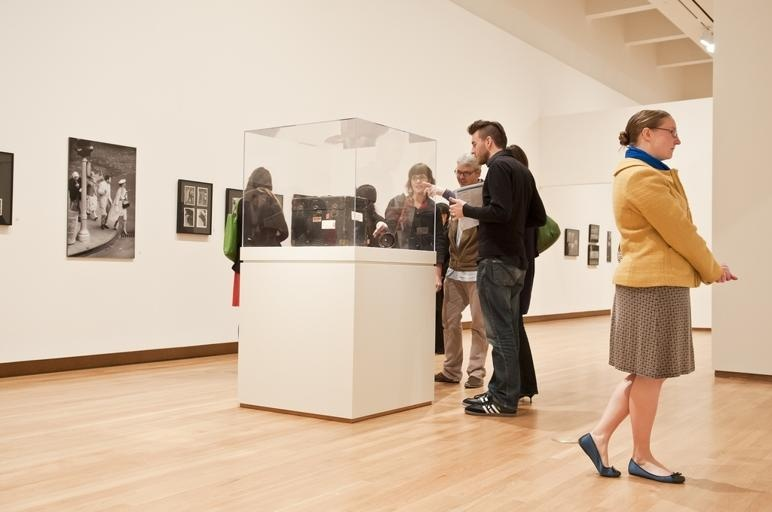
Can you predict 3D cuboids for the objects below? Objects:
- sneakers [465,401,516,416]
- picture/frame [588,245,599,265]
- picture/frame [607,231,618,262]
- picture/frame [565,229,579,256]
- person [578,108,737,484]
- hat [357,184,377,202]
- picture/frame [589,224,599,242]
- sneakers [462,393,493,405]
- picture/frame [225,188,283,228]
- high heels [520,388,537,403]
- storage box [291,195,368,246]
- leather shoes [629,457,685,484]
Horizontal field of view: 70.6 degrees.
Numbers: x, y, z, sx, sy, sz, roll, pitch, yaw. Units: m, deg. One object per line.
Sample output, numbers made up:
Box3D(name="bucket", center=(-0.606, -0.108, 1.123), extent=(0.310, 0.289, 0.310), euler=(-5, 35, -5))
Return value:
Box3D(name="sneakers", center=(0.945, 1.342, 4.937), extent=(0.442, 0.179, 0.164), euler=(3, -9, 9))
Box3D(name="picture/frame", center=(5.853, -0.054, 15.420), extent=(0.079, 0.532, 0.576), euler=(-1, 1, 37))
Box3D(name="picture/frame", center=(6.744, -0.322, 16.259), extent=(0.116, 1.202, 0.883), euler=(-5, -4, 37))
Box3D(name="picture/frame", center=(4.966, -0.395, 14.583), extent=(0.071, 0.689, 0.717), euler=(-2, -3, 36))
Box3D(name="person", center=(1.709, 0.239, 3.557), extent=(0.761, 2.439, 0.372), euler=(1, 2, 27))
Box3D(name="hat", center=(-0.162, -0.560, 4.763), extent=(0.172, 0.099, 0.109), euler=(21, -5, -36))
Box3D(name="picture/frame", center=(5.865, -0.682, 15.391), extent=(0.069, 0.474, 0.510), euler=(-2, -3, 39))
Box3D(name="sneakers", center=(0.842, 1.295, 4.988), extent=(0.263, 0.105, 0.101), euler=(1, -5, 11))
Box3D(name="picture/frame", center=(-1.288, -0.467, 5.367), extent=(0.023, 0.506, 0.708), euler=(-3, -2, 40))
Box3D(name="high heels", center=(1.434, 1.410, 5.473), extent=(0.087, 0.140, 0.265), euler=(-8, -27, 19))
Box3D(name="storage box", center=(-0.479, -0.233, 4.835), extent=(0.646, 0.462, 0.446), euler=(0, -2, 31))
Box3D(name="leather shoes", center=(1.765, 1.420, 3.613), extent=(0.366, 0.139, 0.127), euler=(-2, -8, 24))
